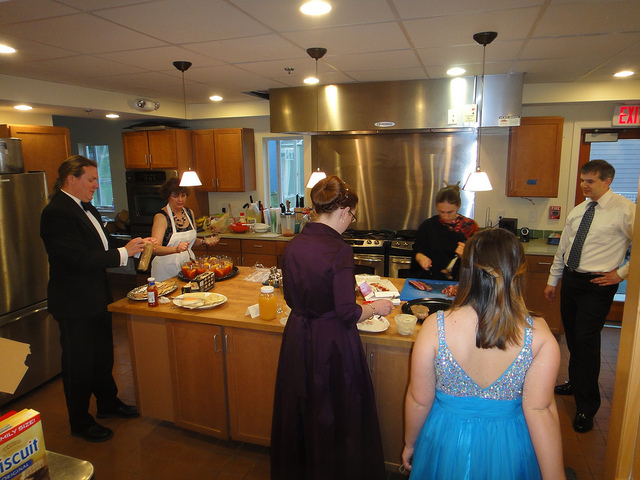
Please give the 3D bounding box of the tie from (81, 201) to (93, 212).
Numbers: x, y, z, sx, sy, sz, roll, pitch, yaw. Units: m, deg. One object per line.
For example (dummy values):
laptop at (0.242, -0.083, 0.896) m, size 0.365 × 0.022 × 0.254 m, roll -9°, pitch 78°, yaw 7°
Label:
tie at (-1.777, -0.252, 3.496) m, size 0.068 × 0.089 × 0.025 m, roll 0°, pitch -7°, yaw -30°

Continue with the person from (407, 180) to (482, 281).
person at (1.042, 0.005, 3.971) m, size 0.634 × 0.865 × 0.445 m, roll 4°, pitch 18°, yaw 10°

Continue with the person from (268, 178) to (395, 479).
person at (0.000, 0.590, 2.726) m, size 0.682 × 1.885 × 0.345 m, roll -4°, pitch 11°, yaw -9°

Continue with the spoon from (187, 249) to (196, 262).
spoon at (-1.230, 0.151, 4.389) m, size 0.028 × 0.026 × 0.137 m, roll -25°, pitch 48°, yaw -20°

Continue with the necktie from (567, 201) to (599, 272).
necktie at (2.097, -0.030, 3.707) m, size 0.136 × 0.529 × 0.210 m, roll 9°, pitch 12°, yaw 8°

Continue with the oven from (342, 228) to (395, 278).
oven at (0.488, 0.212, 5.362) m, size 0.743 × 0.677 × 0.486 m, roll 0°, pitch 1°, yaw 17°

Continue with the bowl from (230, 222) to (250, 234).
bowl at (-1.047, -0.164, 6.048) m, size 0.237 × 0.139 × 0.179 m, roll -3°, pitch 10°, yaw -7°

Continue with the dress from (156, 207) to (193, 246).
dress at (-1.339, -0.112, 4.210) m, size 0.347 × 0.430 × 0.246 m, roll 7°, pitch -6°, yaw -39°

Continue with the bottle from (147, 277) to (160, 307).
bottle at (-1.254, 0.380, 3.439) m, size 0.083 × 0.198 × 0.179 m, roll -6°, pitch 11°, yaw -19°

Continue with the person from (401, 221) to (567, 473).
person at (0.790, 0.613, 2.271) m, size 0.764 × 1.334 × 0.222 m, roll -1°, pitch 11°, yaw 7°

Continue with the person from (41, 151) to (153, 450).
person at (-1.689, 0.451, 3.495) m, size 0.643 × 2.148 × 0.532 m, roll -9°, pitch 12°, yaw -30°

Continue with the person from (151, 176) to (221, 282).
person at (-1.290, -0.081, 4.205) m, size 0.522 × 0.958 × 0.625 m, roll -6°, pitch 11°, yaw -21°

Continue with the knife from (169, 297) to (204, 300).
knife at (-0.967, 0.428, 3.369) m, size 0.206 × 0.013 × 0.044 m, roll -1°, pitch 9°, yaw 7°
